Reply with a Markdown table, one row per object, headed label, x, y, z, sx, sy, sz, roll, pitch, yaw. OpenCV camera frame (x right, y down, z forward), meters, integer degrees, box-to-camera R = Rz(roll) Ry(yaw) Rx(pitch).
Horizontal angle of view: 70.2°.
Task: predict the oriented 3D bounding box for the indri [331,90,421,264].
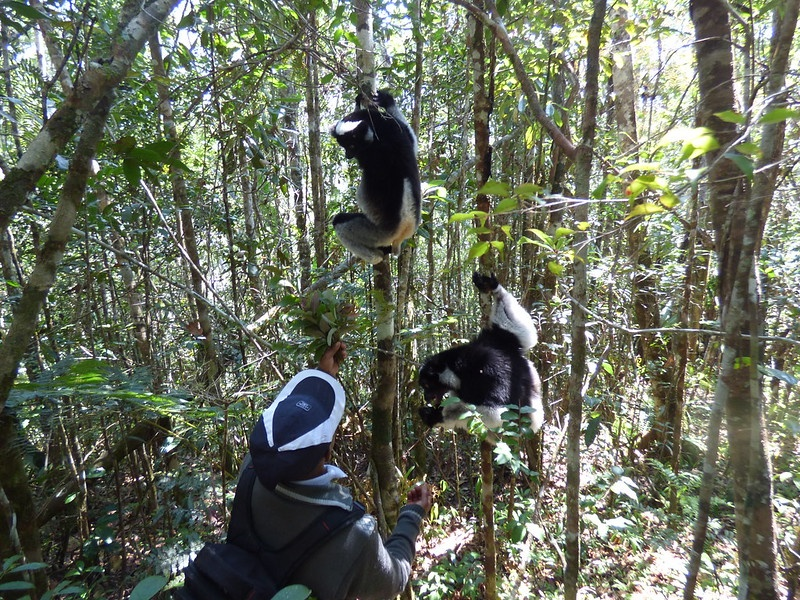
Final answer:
| label | x | y | z | sx | sy | sz | roll | pitch | yaw |
| --- | --- | --- | --- | --- | --- | --- | --- | --- | --- |
| indri | -0.164 | -1.094 | 5.032 | 0.437 | 1.468 | 1.042 | 0 | 5 | 7 |
